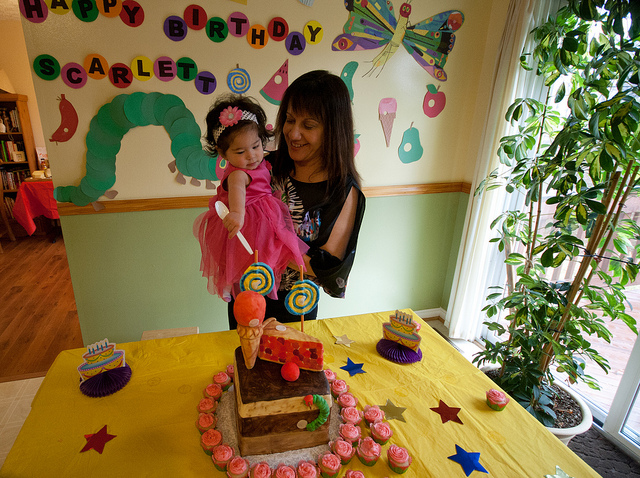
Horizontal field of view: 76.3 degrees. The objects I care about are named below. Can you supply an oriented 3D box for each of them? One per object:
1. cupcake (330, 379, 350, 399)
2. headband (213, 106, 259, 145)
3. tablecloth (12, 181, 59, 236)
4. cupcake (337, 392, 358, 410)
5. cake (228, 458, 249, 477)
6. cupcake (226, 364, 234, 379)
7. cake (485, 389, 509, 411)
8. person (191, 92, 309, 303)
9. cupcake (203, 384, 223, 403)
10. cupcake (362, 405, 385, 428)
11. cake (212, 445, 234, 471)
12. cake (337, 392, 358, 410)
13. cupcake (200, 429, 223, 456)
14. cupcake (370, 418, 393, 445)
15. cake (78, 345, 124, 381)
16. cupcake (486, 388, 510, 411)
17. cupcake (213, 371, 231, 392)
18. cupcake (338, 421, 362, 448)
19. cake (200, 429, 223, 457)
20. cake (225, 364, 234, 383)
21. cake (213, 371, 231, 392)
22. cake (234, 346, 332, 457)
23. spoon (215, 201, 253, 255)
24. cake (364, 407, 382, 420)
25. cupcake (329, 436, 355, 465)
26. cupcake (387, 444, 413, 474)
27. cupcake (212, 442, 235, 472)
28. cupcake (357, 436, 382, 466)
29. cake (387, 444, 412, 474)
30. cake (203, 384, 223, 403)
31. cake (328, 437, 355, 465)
[{"bbox_3d":[0.084,0.653,1.792,0.059,0.066,0.071,-9,17,-39],"label":"cupcake"},{"bbox_3d":[-0.383,-0.514,1.822,0.196,0.150,0.086,-7,18,-16],"label":"headband"},{"bbox_3d":[-3.383,-0.373,4.794,0.529,0.579,0.541,0,11,-9],"label":"tablecloth"},{"bbox_3d":[0.119,0.683,1.741,0.060,0.043,0.061,12,24,20],"label":"cupcake"},{"bbox_3d":[-0.308,0.859,1.523,0.067,0.042,0.051,0,18,5],"label":"cake"},{"bbox_3d":[-0.404,0.607,1.871,0.041,0.045,0.043,4,21,33],"label":"cupcake"},{"bbox_3d":[0.769,0.683,1.762,0.064,0.042,0.081,3,14,3],"label":"cake"},{"bbox_3d":[-0.335,-0.158,1.897,0.486,0.991,0.582,-8,19,-19],"label":"person"},{"bbox_3d":[-0.468,0.647,1.754,0.059,0.068,0.066,-11,33,-14],"label":"cupcake"},{"bbox_3d":[0.220,0.729,1.695,0.072,0.062,0.070,2,1,-5],"label":"cupcake"},{"bbox_3d":[-0.373,0.819,1.544,0.073,0.074,0.078,-1,12,-8],"label":"cake"},{"bbox_3d":[0.117,0.682,1.745,0.058,0.046,0.060,11,23,23],"label":"cake"},{"bbox_3d":[-0.429,0.786,1.589,0.072,0.075,0.077,-1,11,-7],"label":"cupcake"},{"bbox_3d":[0.245,0.776,1.636,0.068,0.049,0.077,1,19,-4],"label":"cupcake"},{"bbox_3d":[-0.986,0.538,1.817,0.129,0.106,0.138,-10,-7,16],"label":"cake"},{"bbox_3d":[0.771,0.697,1.767,0.063,0.050,0.084,3,13,3],"label":"cupcake"},{"bbox_3d":[-0.439,0.628,1.803,0.060,0.061,0.065,6,11,3],"label":"cupcake"},{"bbox_3d":[0.121,0.776,1.632,0.071,0.057,0.075,0,6,-7],"label":"cupcake"},{"bbox_3d":[-0.429,0.786,1.590,0.074,0.077,0.078,-4,9,-22],"label":"cake"},{"bbox_3d":[-0.409,0.608,1.841,0.049,0.055,0.053,-1,13,-14],"label":"cake"},{"bbox_3d":[-0.435,0.624,1.800,0.063,0.063,0.065,12,15,37],"label":"cake"},{"bbox_3d":[-0.153,0.674,1.756,0.337,0.308,0.451,3,15,-13],"label":"cake"},{"bbox_3d":[-0.360,-0.059,1.691,0.099,0.222,0.138,19,22,41],"label":"spoon"},{"bbox_3d":[0.221,0.728,1.697,0.072,0.025,0.050,-4,18,-6],"label":"cake"},{"bbox_3d":[0.089,0.819,1.587,0.076,0.060,0.081,-3,13,-12],"label":"cupcake"},{"bbox_3d":[0.300,0.841,1.553,0.077,0.058,0.083,1,16,-6],"label":"cupcake"},{"bbox_3d":[-0.374,0.818,1.544,0.076,0.075,0.081,-4,22,-12],"label":"cupcake"},{"bbox_3d":[0.188,0.821,1.571,0.084,0.084,0.079,-8,22,-31],"label":"cupcake"},{"bbox_3d":[0.298,0.842,1.553,0.075,0.062,0.082,1,14,-6],"label":"cake"},{"bbox_3d":[-0.464,0.657,1.756,0.062,0.071,0.064,-12,26,-18],"label":"cake"},{"bbox_3d":[0.088,0.819,1.588,0.076,0.059,0.082,-1,8,-8],"label":"cake"}]
